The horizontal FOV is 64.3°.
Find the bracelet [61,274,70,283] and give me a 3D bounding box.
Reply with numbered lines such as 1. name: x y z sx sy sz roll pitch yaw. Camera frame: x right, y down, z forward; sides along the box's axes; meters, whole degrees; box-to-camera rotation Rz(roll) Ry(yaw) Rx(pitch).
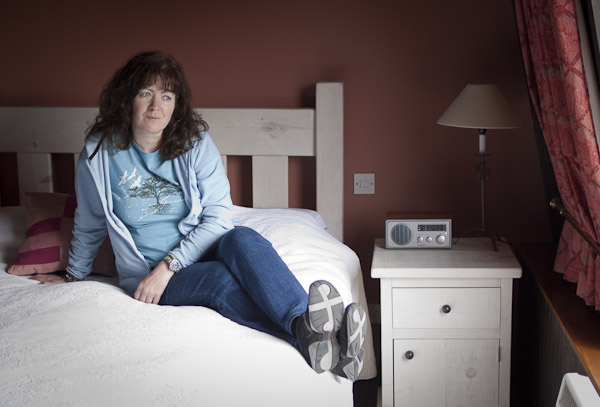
1. bracelet: -0.980 0.311 1.994 0.024 0.035 0.010 0 -18 -5

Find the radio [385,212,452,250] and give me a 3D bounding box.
1. radio: 0.562 0.113 2.257 0.297 0.169 0.228 0 10 7

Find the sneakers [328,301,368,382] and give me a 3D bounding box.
1. sneakers: 0.185 0.466 1.654 0.091 0.314 0.118 8 -3 -29

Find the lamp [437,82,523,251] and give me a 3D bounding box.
1. lamp: 0.904 -0.176 2.326 0.339 0.706 0.342 0 7 30
